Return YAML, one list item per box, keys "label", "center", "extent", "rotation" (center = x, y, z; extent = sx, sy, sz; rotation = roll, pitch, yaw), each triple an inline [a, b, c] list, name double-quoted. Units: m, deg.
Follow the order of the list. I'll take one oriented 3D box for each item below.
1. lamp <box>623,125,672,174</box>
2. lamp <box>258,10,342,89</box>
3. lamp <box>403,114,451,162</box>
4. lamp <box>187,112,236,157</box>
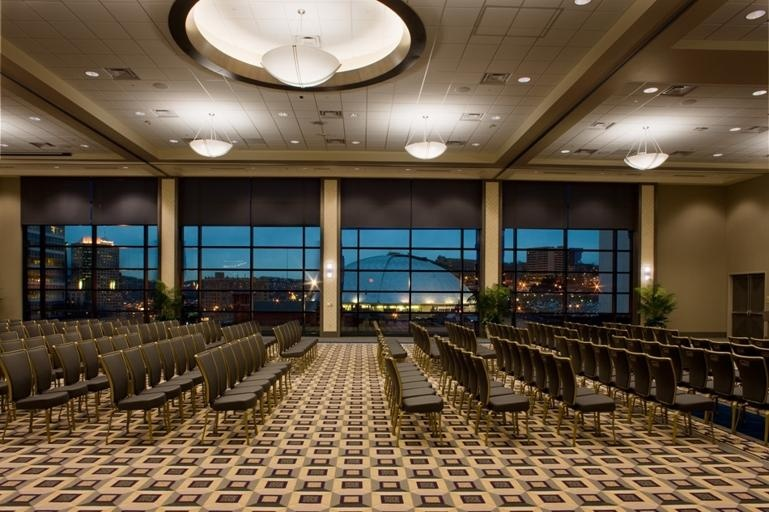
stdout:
- label: "lamp"
  center: [7.927, -3.281, 15.301]
  extent: [1.551, 1.292, 1.431]
  rotation: [-2, -2, 5]
- label: "lamp"
  center: [-1.667, -4.116, 10.650]
  extent: [1.876, 1.535, 1.696]
  rotation: [1, -13, -5]
- label: "lamp"
  center: [1.087, -3.146, 13.407]
  extent: [1.312, 1.096, 1.148]
  rotation: [-1, 0, -3]
- label: "lamp"
  center: [-4.477, -3.127, 13.171]
  extent: [1.254, 1.084, 1.161]
  rotation: [1, 4, -6]
